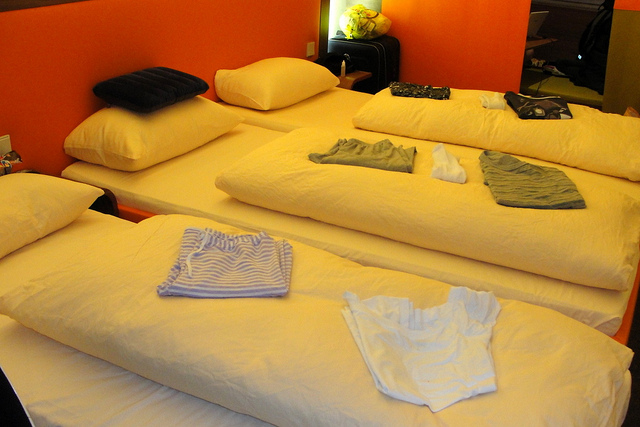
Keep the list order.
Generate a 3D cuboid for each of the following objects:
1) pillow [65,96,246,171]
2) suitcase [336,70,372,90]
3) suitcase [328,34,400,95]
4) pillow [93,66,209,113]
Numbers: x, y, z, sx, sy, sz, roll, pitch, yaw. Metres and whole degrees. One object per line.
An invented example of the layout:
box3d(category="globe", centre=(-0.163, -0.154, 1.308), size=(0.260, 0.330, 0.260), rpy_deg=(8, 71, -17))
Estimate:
box3d(category="pillow", centre=(-1.119, -0.524, 2.869), size=(0.490, 0.292, 0.897), rpy_deg=(14, 28, 25))
box3d(category="suitcase", centre=(0.330, -1.311, 4.517), size=(0.171, 0.160, 0.332), rpy_deg=(18, 42, 23))
box3d(category="suitcase", centre=(0.511, -1.553, 5.069), size=(0.743, 0.704, 0.838), rpy_deg=(-9, 30, -15))
box3d(category="pillow", centre=(-1.082, -0.834, 3.043), size=(0.466, 0.161, 0.596), rpy_deg=(23, 33, 24))
